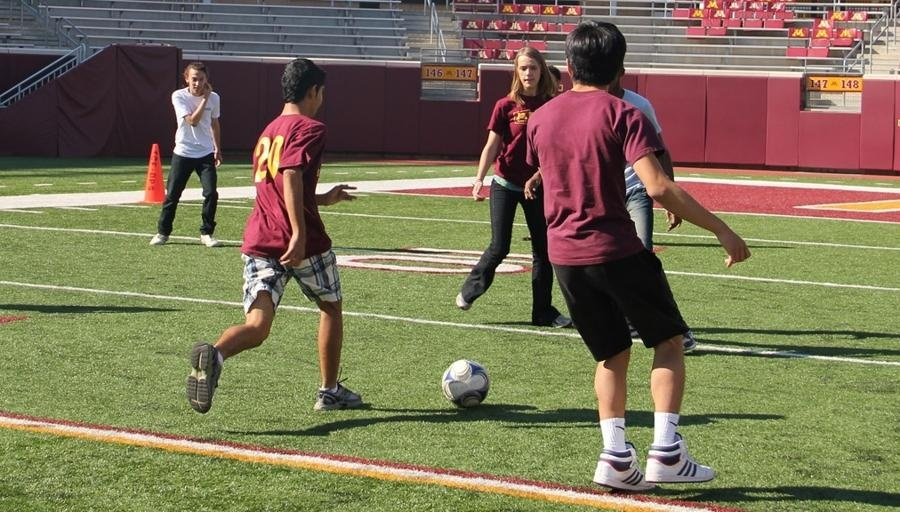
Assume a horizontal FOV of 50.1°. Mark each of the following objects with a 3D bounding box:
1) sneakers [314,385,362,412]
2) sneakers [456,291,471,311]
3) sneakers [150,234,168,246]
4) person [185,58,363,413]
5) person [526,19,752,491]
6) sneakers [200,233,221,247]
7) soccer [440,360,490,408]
[{"bbox_3d":[-1.030,1.320,9.004,0.483,0.204,0.186,-3,4,-34],"label":"sneakers"},{"bbox_3d":[0.152,0.534,11.174,0.166,0.124,0.215,28,-5,8],"label":"sneakers"},{"bbox_3d":[-4.443,-0.245,14.581,0.297,0.118,0.134,-3,20,-7],"label":"sneakers"},{"bbox_3d":[-1.497,-0.177,8.678,1.455,3.187,0.777,-2,10,-26],"label":"person"},{"bbox_3d":[1.355,0.003,7.797,1.635,3.736,0.730,5,9,17],"label":"person"},{"bbox_3d":[-3.675,-0.251,14.672,0.339,0.128,0.156,9,10,33],"label":"sneakers"},{"bbox_3d":[0.178,1.198,9.090,0.410,0.374,0.374,2,-8,-36],"label":"soccer"}]
